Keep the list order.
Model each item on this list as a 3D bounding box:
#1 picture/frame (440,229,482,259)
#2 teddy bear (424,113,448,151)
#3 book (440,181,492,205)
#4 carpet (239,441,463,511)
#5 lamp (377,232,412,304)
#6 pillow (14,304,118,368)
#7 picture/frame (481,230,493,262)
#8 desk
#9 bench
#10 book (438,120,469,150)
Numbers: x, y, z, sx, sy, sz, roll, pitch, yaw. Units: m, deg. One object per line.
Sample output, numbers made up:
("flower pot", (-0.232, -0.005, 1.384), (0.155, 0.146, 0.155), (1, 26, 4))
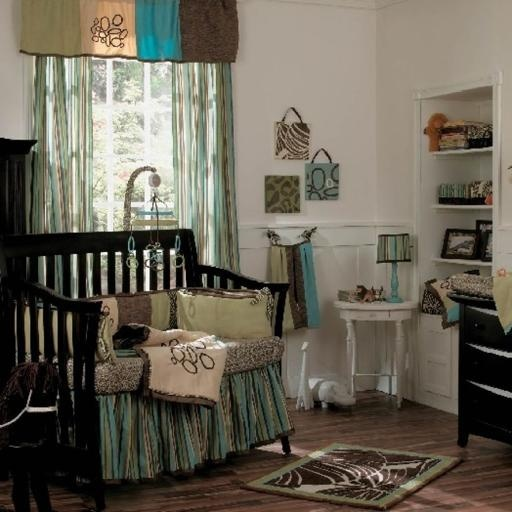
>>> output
("picture/frame", (1.496, -0.031, 4.024), (0.026, 0.175, 0.201), (15, -8, -30))
("teddy bear", (1.323, -0.762, 4.051), (0.081, 0.238, 0.186), (7, -7, -35))
("book", (1.493, -0.348, 3.965), (0.049, 0.153, 0.435), (1, -2, -34))
("carpet", (0.500, 0.990, 2.762), (0.721, 0.024, 0.931), (-1, -2, 38))
("lamp", (1.036, 0.120, 4.161), (0.240, 0.463, 0.349), (-1, -1, 15))
("pillow", (-0.878, 0.354, 2.549), (0.456, 0.239, 0.440), (0, -1, -9))
("picture/frame", (1.604, -0.022, 3.859), (0.066, 0.198, 0.154), (-1, -1, 22))
("desk", (0.810, 0.652, 4.300), (0.734, 0.749, 0.639), (0, 4, 5))
("bench", (-0.588, 0.500, 3.158), (1.068, 1.488, 1.758), (1, 3, 42))
("book", (1.395, -0.713, 3.932), (0.183, 0.153, 0.176), (-4, 5, -38))
